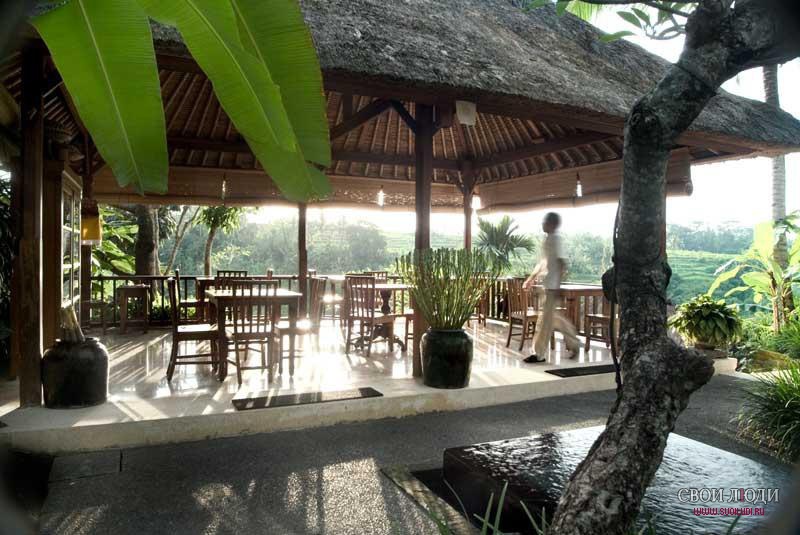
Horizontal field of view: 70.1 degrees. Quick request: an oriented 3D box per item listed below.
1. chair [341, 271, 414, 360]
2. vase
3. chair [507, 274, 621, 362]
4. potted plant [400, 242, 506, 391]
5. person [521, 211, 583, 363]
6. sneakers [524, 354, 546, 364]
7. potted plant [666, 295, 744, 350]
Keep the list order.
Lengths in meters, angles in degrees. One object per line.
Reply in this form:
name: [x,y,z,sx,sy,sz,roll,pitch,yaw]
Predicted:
chair: [-0.553,0.650,8.178,1.033,1.540,1.027,4,-7,-40]
vase: [-3.144,1.044,5.684,0.590,0.603,0.609,0,-4,-3]
chair: [2.193,0.763,7.980,1.350,1.321,1.144,1,-4,-27]
potted plant: [0.545,0.547,6.407,1.101,1.496,0.618,1,12,1]
person: [2.095,0.284,7.717,0.802,2.046,1.049,3,12,13]
sneakers: [1.806,1.218,7.571,0.303,0.126,0.113,1,2,-27]
potted plant: [4.597,0.850,8.675,0.770,0.571,0.781,4,-8,-28]
